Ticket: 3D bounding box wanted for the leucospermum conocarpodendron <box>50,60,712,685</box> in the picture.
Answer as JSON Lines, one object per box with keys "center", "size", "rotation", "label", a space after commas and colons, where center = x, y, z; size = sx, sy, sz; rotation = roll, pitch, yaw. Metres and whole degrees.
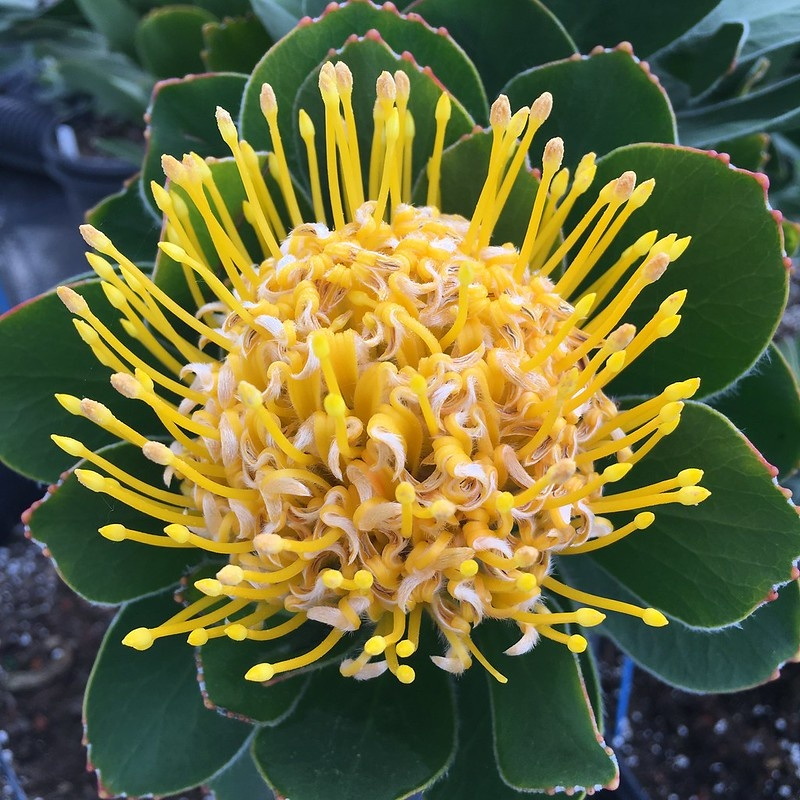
{"center": [-0.030, -0.027, 1.055], "size": [0.723, 0.334, 0.693], "rotation": [-12, 81, -1], "label": "leucospermum conocarpodendron"}
